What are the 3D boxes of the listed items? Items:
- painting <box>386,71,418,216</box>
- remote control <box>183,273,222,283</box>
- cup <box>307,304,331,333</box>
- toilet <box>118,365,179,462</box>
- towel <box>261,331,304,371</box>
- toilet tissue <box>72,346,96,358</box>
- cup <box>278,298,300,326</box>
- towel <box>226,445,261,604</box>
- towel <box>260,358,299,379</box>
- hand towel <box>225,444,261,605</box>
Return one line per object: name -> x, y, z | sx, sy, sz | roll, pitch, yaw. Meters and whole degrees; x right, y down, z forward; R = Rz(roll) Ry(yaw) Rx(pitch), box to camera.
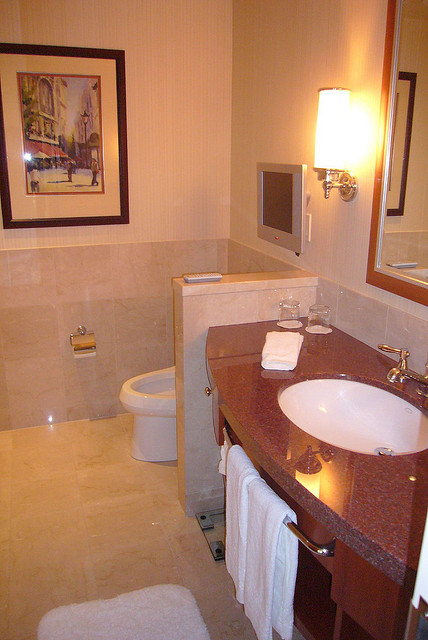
painting -> 0.533, -0.503, 1.355 | 0.008, 0.394, 0.077 | -24, 32, -32
remote control -> -0.047, -0.167, 1.850 | 0.158, 0.025, 0.084 | -8, 16, -29
cup -> 0.392, -0.005, 1.756 | 0.086, 0.097, 0.093 | 0, 8, 0
toilet -> -0.342, 0.537, 2.455 | 0.284, 0.436, 0.480 | -2, 14, -7
towel -> 0.219, 0.084, 1.476 | 0.163, 0.095, 0.205 | 5, 16, 16
toilet tissue -> -0.769, 0.188, 2.771 | 0.133, 0.100, 0.100 | -4, 14, -16
cup -> 0.283, -0.029, 1.807 | 0.082, 0.092, 0.089 | 0, 13, 0
towel -> 0.056, 0.528, 1.202 | 0.099, 0.352, 0.158 | -3, 23, -8
towel -> 0.192, 0.148, 1.377 | 0.098, 0.008, 0.135 | 5, 15, 18
hand towel -> 0.056, 0.518, 1.201 | 0.100, 0.353, 0.159 | -3, 23, -8
